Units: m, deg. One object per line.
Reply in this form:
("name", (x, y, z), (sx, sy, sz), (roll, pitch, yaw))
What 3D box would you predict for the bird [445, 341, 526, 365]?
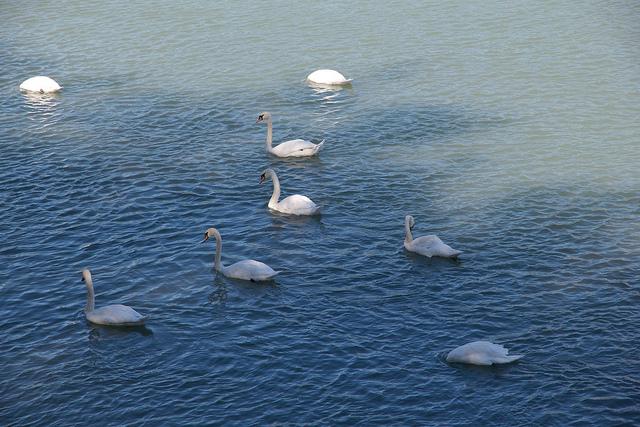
("bird", (9.210, 8.086, 55.438), (3.796, 1.067, 1.179), (-2, 54, 1))
